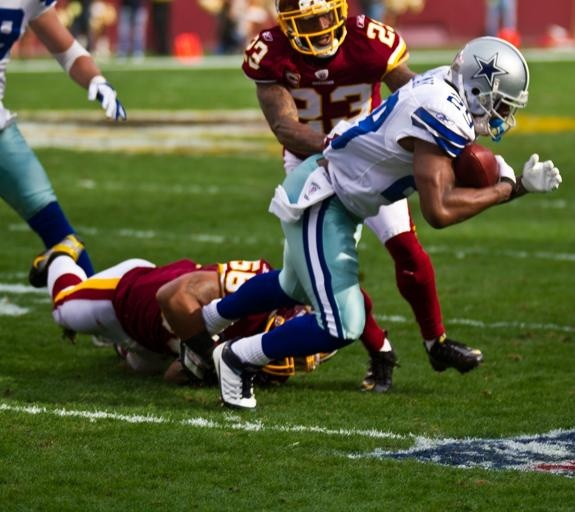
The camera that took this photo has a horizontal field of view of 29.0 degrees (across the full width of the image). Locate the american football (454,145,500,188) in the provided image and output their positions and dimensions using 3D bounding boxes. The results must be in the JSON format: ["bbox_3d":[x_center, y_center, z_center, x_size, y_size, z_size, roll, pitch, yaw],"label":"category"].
[{"bbox_3d":[0.648,-0.299,3.850,0.148,0.130,0.153,8,14,-10],"label":"american football"}]

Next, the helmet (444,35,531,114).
[{"bbox_3d":[0.699,-0.639,3.916,0.292,0.247,0.219,4,27,6],"label":"helmet"}]

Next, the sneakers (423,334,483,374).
[{"bbox_3d":[0.631,0.412,4.532,0.290,0.161,0.104,-7,36,50],"label":"sneakers"}]

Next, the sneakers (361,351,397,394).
[{"bbox_3d":[0.371,0.466,4.489,0.090,0.207,0.093,-3,-29,26],"label":"sneakers"}]

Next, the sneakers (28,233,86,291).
[{"bbox_3d":[-0.975,0.026,4.987,0.349,0.132,0.152,-33,4,-24],"label":"sneakers"}]

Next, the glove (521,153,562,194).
[{"bbox_3d":[0.907,-0.279,3.915,0.134,0.143,0.170,-9,15,-37],"label":"glove"}]

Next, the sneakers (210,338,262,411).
[{"bbox_3d":[-0.203,0.459,4.188,0.108,0.306,0.137,0,-32,-45],"label":"sneakers"}]
